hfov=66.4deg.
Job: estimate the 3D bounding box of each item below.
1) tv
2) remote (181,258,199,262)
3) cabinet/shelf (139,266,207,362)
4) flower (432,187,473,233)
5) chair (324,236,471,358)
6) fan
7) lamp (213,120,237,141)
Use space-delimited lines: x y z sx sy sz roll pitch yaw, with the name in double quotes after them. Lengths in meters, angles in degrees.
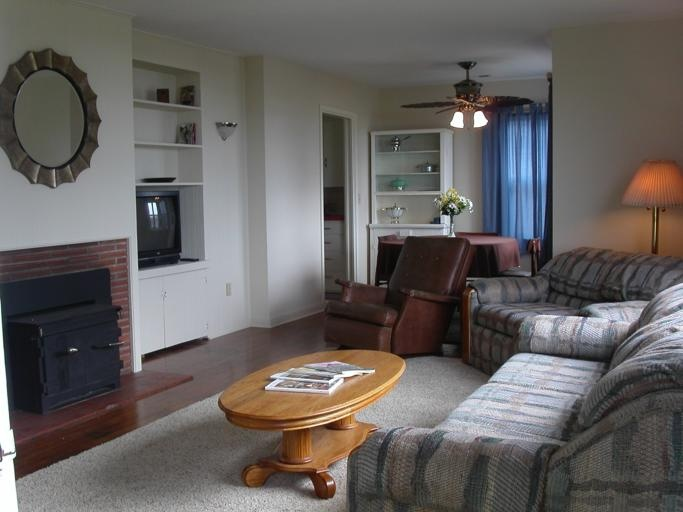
-1.865 -0.266 4.993 0.361 0.687 0.497 10 14 38 "tv"
-1.528 0.033 5.252 0.169 0.013 0.335 -4 8 -19 "remote"
-1.621 0.522 5.036 0.928 0.756 0.350 -8 -11 13 "cabinet/shelf"
1.272 -0.494 5.963 0.324 0.436 0.366 7 -6 -16 "flower"
0.508 0.361 4.708 0.881 1.063 1.212 4 5 43 "chair"
1.477 -1.917 6.017 1.032 0.651 1.741 -1 7 8 "fan"
-1.168 -1.298 5.427 0.125 0.199 0.297 2 8 26 "lamp"
